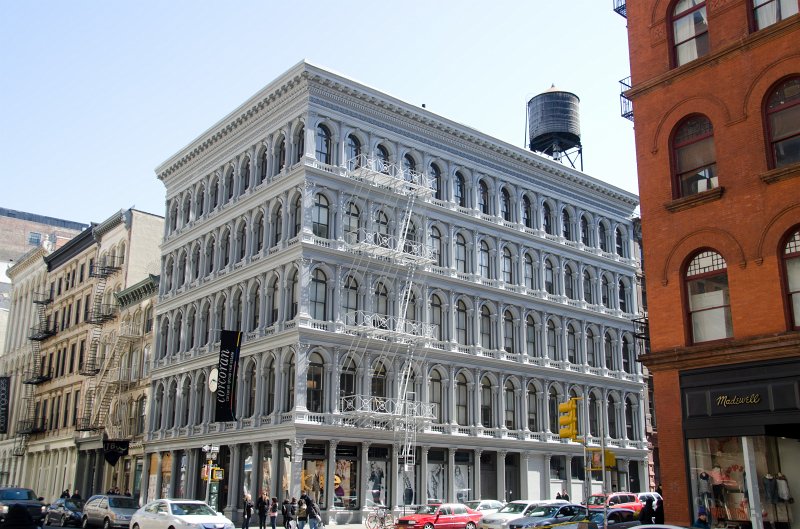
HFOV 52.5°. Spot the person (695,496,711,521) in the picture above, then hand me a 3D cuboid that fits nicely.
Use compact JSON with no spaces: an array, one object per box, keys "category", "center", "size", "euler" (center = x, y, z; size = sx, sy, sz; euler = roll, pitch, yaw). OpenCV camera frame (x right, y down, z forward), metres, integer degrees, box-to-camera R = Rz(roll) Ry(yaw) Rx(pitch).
[{"category":"person","center":[11.545,9.371,31.018],"size":[0.191,0.770,0.575],"euler":[3,-10,0]}]

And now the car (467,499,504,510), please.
[{"category":"car","center":[5.039,13.969,47.094],"size":[2.139,0.669,0.976],"euler":[14,-18,-31]}]
